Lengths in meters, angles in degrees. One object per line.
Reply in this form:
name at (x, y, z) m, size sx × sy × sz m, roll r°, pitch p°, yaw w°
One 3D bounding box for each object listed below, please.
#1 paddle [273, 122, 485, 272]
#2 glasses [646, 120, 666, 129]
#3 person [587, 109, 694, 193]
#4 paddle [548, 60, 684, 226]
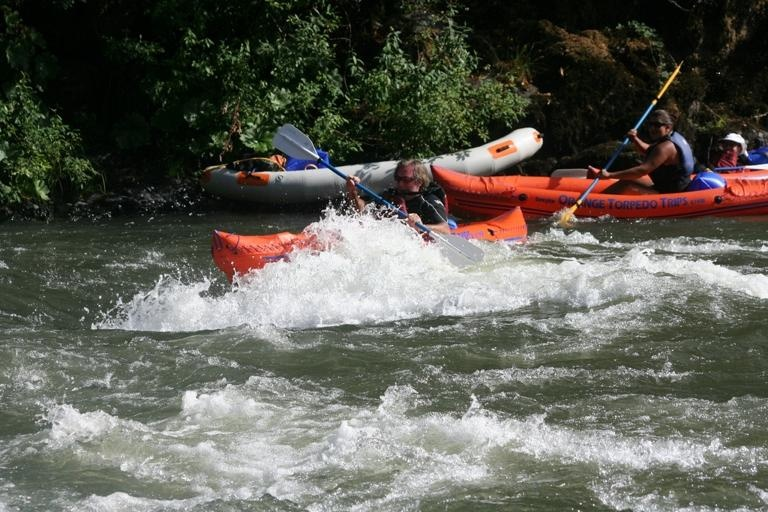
paddle at (-0.093, -0.805, 16.124) m, size 4.153 × 0.563 × 0.154 m, roll 34°, pitch 18°, yaw 10°
glasses at (4.001, -1.937, 16.701) m, size 0.157 × 0.058 × 0.165 m, roll 6°, pitch -28°, yaw 43°
person at (3.917, -1.511, 16.840) m, size 1.221 × 1.212 × 0.667 m, roll 0°, pitch 9°, yaw 11°
paddle at (3.670, -1.753, 18.462) m, size 0.179 × 4.021 × 0.297 m, roll 43°, pitch -3°, yaw 25°
